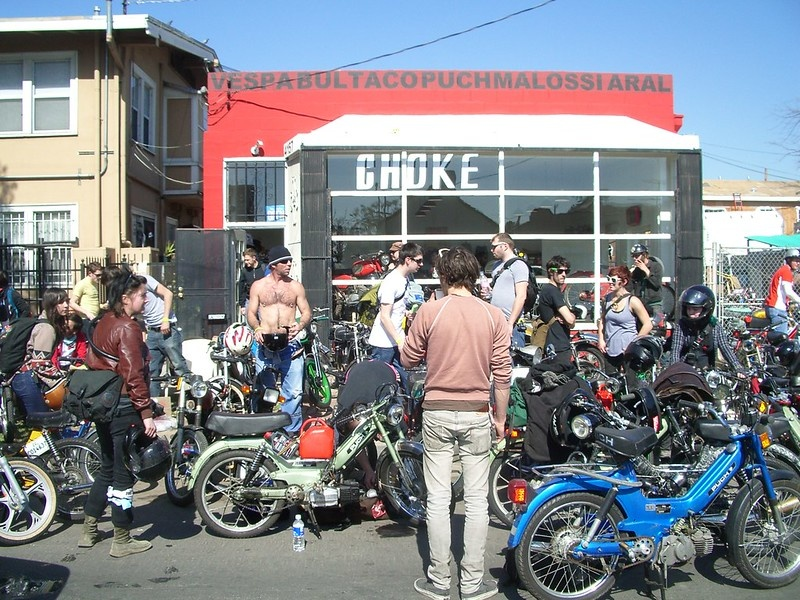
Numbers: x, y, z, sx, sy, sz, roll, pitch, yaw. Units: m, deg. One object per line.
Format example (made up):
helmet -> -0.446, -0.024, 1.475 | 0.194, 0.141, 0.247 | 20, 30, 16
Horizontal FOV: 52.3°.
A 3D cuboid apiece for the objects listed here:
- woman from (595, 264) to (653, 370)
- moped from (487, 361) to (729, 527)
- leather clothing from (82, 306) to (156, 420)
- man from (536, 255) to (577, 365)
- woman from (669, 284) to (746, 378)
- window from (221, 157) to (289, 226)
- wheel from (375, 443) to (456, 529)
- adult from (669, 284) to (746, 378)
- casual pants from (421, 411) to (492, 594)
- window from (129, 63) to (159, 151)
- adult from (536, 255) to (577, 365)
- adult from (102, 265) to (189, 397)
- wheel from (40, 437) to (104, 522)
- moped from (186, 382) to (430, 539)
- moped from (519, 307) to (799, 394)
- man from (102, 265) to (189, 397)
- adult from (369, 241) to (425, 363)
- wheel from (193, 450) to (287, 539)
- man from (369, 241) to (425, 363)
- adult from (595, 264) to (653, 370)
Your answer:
woman -> 2.807, 0.234, 10.274 | 0.394, 1.314, 0.916 | -1, 1, -16
moped -> 1.959, 1.509, 8.299 | 2.081, 1.465, 1.364 | 0, -1, -4
leather clothing -> -2.778, 0.573, 8.185 | 0.563, 0.955, 1.042 | -7, 14, -35
man -> 1.927, 0.109, 10.329 | 0.532, 1.321, 1.544 | 0, 1, 12
woman -> 3.326, 0.307, 8.991 | 0.676, 0.921, 0.784 | 0, 1, 17
window -> -2.932, -2.144, 16.418 | 1.427, 1.551, 0.124 | -1, 0, 3
wheel -> 0.188, 1.808, 8.549 | 0.797, 0.918, 0.825 | 3, 9, 0
adult -> 3.329, 0.306, 9.002 | 0.686, 0.921, 0.762 | 0, 1, 18
casual pants -> 0.507, 1.787, 7.320 | 0.612, 1.609, 0.328 | -1, 1, 1
window -> -6.218, -4.423, 19.312 | 0.109, 1.826, 2.310 | -9, 15, -24
adult -> 1.928, 0.109, 10.337 | 0.532, 1.321, 1.685 | 0, 2, 12
adult -> -3.429, 0.463, 11.137 | 0.637, 1.981, 0.614 | -8, 22, 2
wheel -> -3.419, 1.877, 8.505 | 0.780, 0.824, 0.325 | -2, -1, -4
moped -> -0.933, 1.676, 8.665 | 2.333, 1.482, 1.222 | -2, -2, -5
moped -> 3.885, 1.124, 12.149 | 2.675, 1.792, 1.774 | 0, 6, 3
man -> -3.416, 0.459, 11.122 | 0.625, 1.982, 0.600 | -15, 20, -11
adult -> -0.066, 0.049, 10.424 | 0.519, 0.618, 1.721 | 9, -40, 1
wheel -> -1.578, 1.935, 8.125 | 0.822, 0.897, 0.212 | 0, -5, 12
man -> -0.066, 0.049, 10.424 | 0.519, 0.618, 1.721 | 9, -40, 1
adult -> 2.807, 0.234, 10.266 | 0.393, 1.314, 0.900 | -1, 1, -16
